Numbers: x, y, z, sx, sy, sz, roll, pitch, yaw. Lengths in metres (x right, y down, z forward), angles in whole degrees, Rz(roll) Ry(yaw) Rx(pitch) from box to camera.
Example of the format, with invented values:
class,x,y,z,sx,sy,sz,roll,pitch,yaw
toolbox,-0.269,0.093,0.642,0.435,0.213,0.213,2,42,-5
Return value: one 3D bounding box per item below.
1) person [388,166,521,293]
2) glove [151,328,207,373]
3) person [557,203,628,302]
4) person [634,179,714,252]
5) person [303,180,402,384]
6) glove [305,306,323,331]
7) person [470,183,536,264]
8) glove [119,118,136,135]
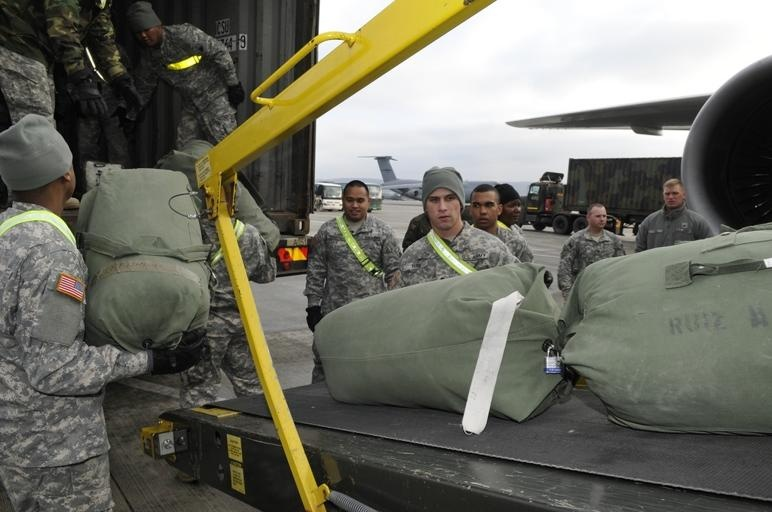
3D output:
class,x,y,z,sx,sy,sz,roll,pitch,yaw
person,0.412,-0.154,3.470,0.800,0.762,0.400,-4,-4,22
glove,-0.966,0.446,2.608,0.218,0.089,0.175,-14,20,-31
person,2.334,-0.029,6.529,0.845,1.005,0.475,-6,10,-27
person,3.020,-0.398,5.939,0.504,0.749,0.598,-4,9,-17
person,-0.296,0.415,4.946,0.822,2.118,0.528,3,22,0
glove,-0.584,0.551,4.564,0.123,0.233,0.434,-2,9,-6
person,0.840,-0.253,4.507,0.681,0.629,0.361,4,13,37
glove,-2.576,-1.263,5.569,0.086,0.125,0.044,-25,24,26
